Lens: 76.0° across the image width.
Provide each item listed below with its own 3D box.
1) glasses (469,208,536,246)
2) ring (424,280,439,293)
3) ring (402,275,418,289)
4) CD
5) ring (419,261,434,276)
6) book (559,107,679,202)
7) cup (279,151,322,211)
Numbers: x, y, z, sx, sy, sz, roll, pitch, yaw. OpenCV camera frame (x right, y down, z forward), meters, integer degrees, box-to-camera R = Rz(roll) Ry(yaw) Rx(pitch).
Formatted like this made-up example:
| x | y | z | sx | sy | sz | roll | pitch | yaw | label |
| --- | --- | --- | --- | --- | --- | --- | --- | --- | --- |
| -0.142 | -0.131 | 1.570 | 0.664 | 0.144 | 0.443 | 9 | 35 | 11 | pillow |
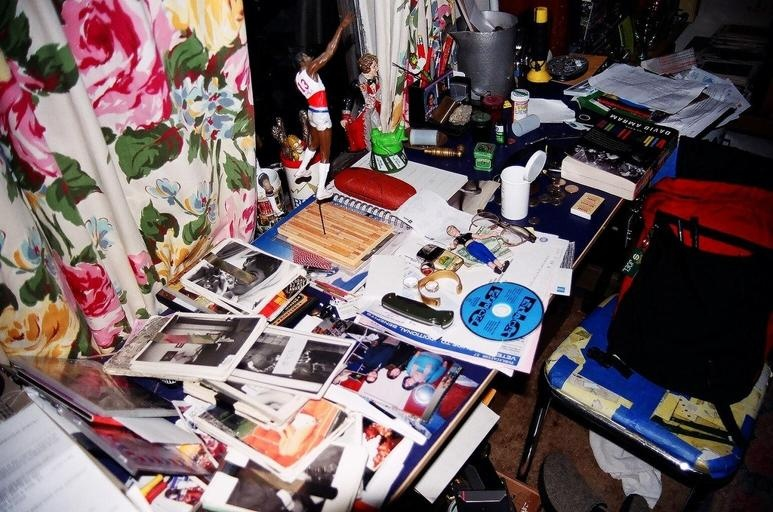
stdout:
| x | y | z | sx | sy | sz | roll | pitch | yaw | label |
| --- | --- | --- | --- | --- | --- | --- | --- | --- | --- |
| 0.379 | -0.089 | 1.593 | 0.173 | 0.040 | 0.123 | 13 | 28 | 16 | glasses |
| 0.134 | 0.092 | 1.448 | 0.032 | 0.023 | 0.046 | 28 | 49 | 29 | ring |
| 0.072 | 0.077 | 1.470 | 0.043 | 0.015 | 0.043 | 0 | 41 | 0 | ring |
| 0.326 | 0.156 | 1.401 | 0.234 | 0.044 | 0.191 | 3 | 41 | 4 | CD |
| 0.125 | 0.039 | 1.494 | 0.037 | 0.036 | 0.025 | 15 | -3 | -3 | ring |
| 0.835 | -0.352 | 1.769 | 0.317 | 0.205 | 0.355 | -11 | 42 | -22 | book |
| -0.293 | -0.276 | 1.827 | 0.158 | 0.168 | 0.112 | 35 | 43 | 28 | cup |
